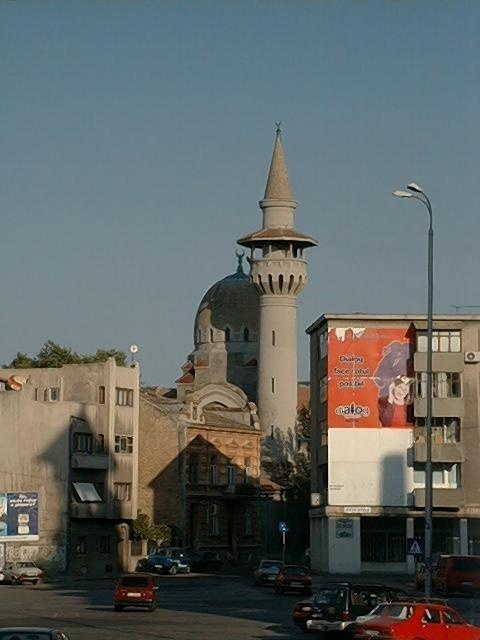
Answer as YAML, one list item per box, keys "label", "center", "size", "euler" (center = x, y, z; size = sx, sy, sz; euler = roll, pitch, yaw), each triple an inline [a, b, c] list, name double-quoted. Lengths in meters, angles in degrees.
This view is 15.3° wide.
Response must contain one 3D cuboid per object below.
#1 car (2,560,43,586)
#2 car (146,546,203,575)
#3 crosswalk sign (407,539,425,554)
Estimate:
- label: "car"
  center: [-9.005, 10.382, 73.016]
  size: [1.381, 0.969, 1.758]
  euler: [3, -10, -24]
- label: "car"
  center: [-3.343, 11.010, 81.112]
  size: [1.587, 1.238, 1.425]
  euler: [-8, -12, 37]
- label: "crosswalk sign"
  center: [5.390, 6.953, 54.610]
  size: [0.517, 0.567, 0.079]
  euler: [1, -1, 9]
